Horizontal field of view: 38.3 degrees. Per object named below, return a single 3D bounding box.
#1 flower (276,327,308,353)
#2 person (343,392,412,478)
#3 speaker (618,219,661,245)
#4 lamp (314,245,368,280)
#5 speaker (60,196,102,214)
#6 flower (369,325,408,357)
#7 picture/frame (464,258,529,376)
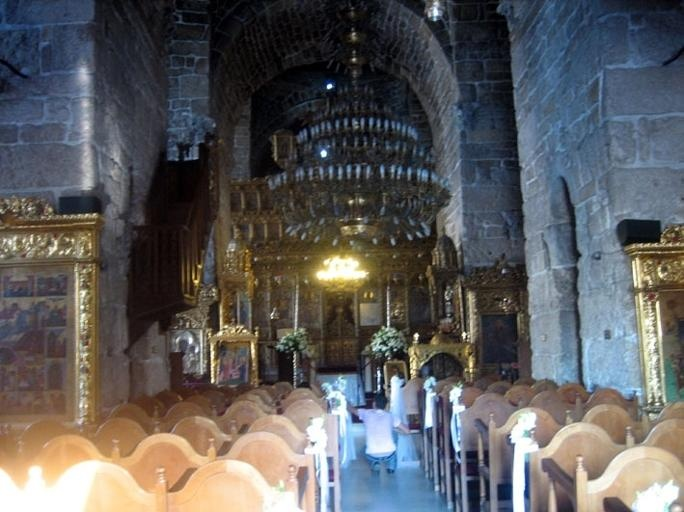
[{"bbox_3d":[-1.255,2.048,23.504,0.739,0.559,0.711,-4,-7,8],"label":"flower"},{"bbox_3d":[0.660,2.903,16.149,0.978,1.467,0.946,-7,-14,14],"label":"person"},{"bbox_3d":[4.571,-0.383,15.094,0.697,0.441,0.368,1,-7,1],"label":"speaker"},{"bbox_3d":[-0.026,0.310,26.086,0.819,0.768,0.924,-10,-11,40],"label":"lamp"},{"bbox_3d":[-3.714,-0.734,13.894,0.352,0.207,0.355,-2,-4,5],"label":"speaker"},{"bbox_3d":[1.112,1.992,22.736,0.783,0.765,0.798,-4,8,-28],"label":"flower"},{"bbox_3d":[3.408,1.339,21.485,1.325,2.591,0.497,-4,-9,10],"label":"picture/frame"}]
